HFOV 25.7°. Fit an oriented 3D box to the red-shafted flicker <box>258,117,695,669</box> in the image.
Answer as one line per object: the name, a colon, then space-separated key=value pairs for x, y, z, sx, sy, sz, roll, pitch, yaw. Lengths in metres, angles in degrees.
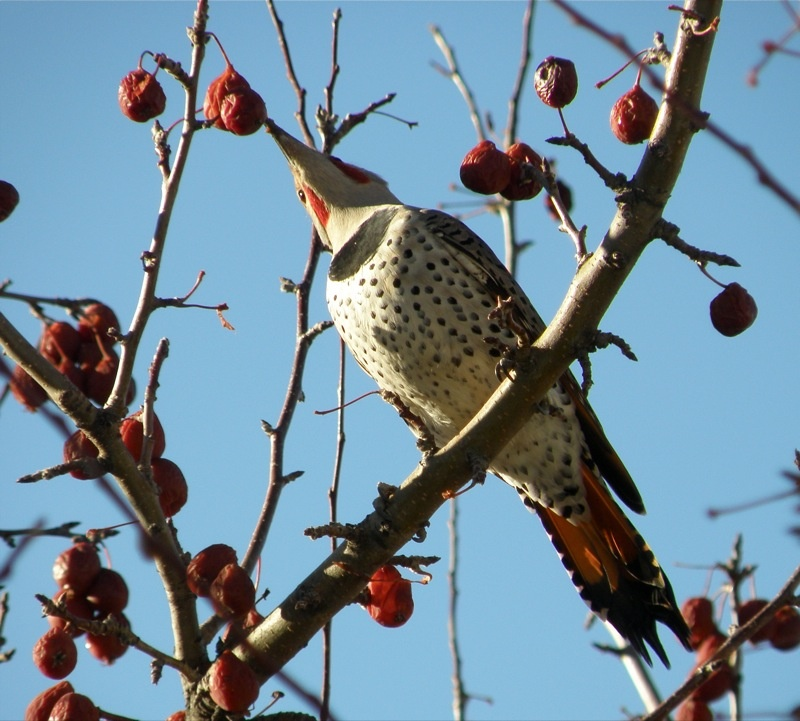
red-shafted flicker: x=0.250 y=0.100 z=5.082 sx=1.503 sy=0.696 sz=0.446 roll=46 pitch=-60 yaw=-9
